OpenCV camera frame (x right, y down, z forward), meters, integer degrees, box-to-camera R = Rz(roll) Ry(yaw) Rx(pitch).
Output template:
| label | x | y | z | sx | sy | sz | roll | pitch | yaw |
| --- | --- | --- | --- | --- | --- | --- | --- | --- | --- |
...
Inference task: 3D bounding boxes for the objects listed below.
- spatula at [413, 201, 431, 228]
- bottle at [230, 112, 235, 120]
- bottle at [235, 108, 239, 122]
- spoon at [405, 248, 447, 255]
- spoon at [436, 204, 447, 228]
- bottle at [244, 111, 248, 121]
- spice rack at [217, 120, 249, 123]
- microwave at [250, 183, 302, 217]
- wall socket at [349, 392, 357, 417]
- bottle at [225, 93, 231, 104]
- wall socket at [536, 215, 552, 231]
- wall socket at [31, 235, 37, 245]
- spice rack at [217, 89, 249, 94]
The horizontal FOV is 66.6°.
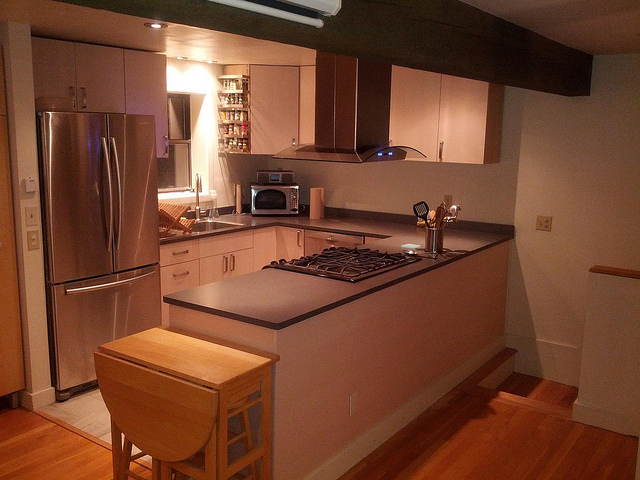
| label | x | y | z | sx | sy | sz | roll | pitch | yaw |
| --- | --- | --- | --- | --- | --- | --- | --- | --- | --- |
| spatula | 0.857 | -0.215 | 4.050 | 0.137 | 0.188 | 0.206 | 3 | 13 | 16 |
| bottle | -0.977 | -1.390 | 5.468 | 0.061 | 0.077 | 0.045 | 2 | 13 | 11 |
| bottle | -0.923 | -1.395 | 5.450 | 0.044 | 0.124 | 0.063 | -3 | 13 | -9 |
| spoon | 0.843 | 0.098 | 4.003 | 0.223 | 0.038 | 0.121 | -6 | 2 | 25 |
| spoon | 0.994 | -0.198 | 3.968 | 0.069 | 0.183 | 0.149 | 6 | 14 | 28 |
| bottle | -0.818 | -1.380 | 5.432 | 0.038 | 0.102 | 0.030 | 0 | 12 | 2 |
| spice rack | -0.979 | -1.332 | 5.475 | 0.381 | 0.035 | 0.084 | 6 | 14 | 28 |
| microwave | -0.524 | -0.518 | 5.799 | 0.573 | 0.407 | 0.383 | 1 | 26 | -2 |
| wall socket | 0.206 | 1.034 | 3.079 | 0.014 | 0.156 | 0.150 | 1 | 6 | 25 |
| bottle | -1.025 | -1.574 | 5.433 | 0.049 | 0.097 | 0.021 | 0 | 9 | -4 |
| wall socket | 2.095 | -0.159 | 4.578 | 0.132 | 0.129 | 0.031 | 12 | 5 | 33 |
| wall socket | -2.187 | 0.000 | 3.744 | 0.032 | 0.076 | 0.011 | -10 | 15 | -35 |
| spice rack | -0.955 | -1.644 | 5.415 | 0.364 | 0.049 | 0.040 | 1 | 13 | 8 |
